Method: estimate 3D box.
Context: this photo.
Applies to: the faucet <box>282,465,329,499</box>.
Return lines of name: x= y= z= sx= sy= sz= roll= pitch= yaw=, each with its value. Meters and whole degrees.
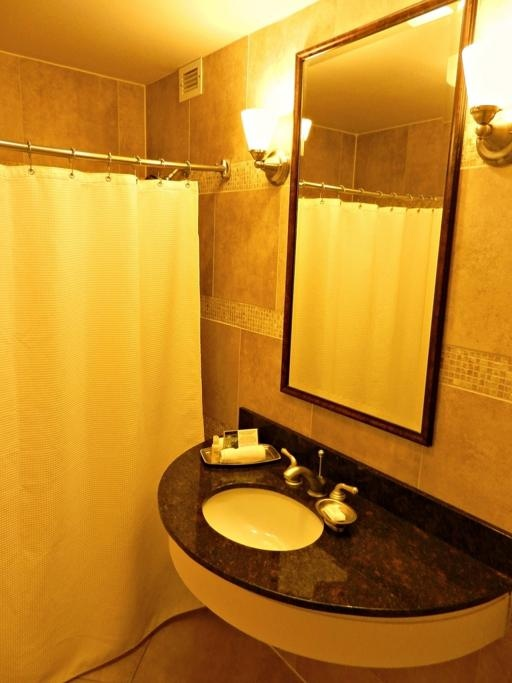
faucet: x=0.139 y=0.379 z=1.495 sx=0.054 sy=0.103 sz=0.145 roll=-6 pitch=11 yaw=-30

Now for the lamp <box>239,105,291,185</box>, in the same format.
lamp: x=0.027 y=-0.616 z=1.649 sx=0.132 sy=0.257 sz=0.135 roll=-13 pitch=45 yaw=-13
